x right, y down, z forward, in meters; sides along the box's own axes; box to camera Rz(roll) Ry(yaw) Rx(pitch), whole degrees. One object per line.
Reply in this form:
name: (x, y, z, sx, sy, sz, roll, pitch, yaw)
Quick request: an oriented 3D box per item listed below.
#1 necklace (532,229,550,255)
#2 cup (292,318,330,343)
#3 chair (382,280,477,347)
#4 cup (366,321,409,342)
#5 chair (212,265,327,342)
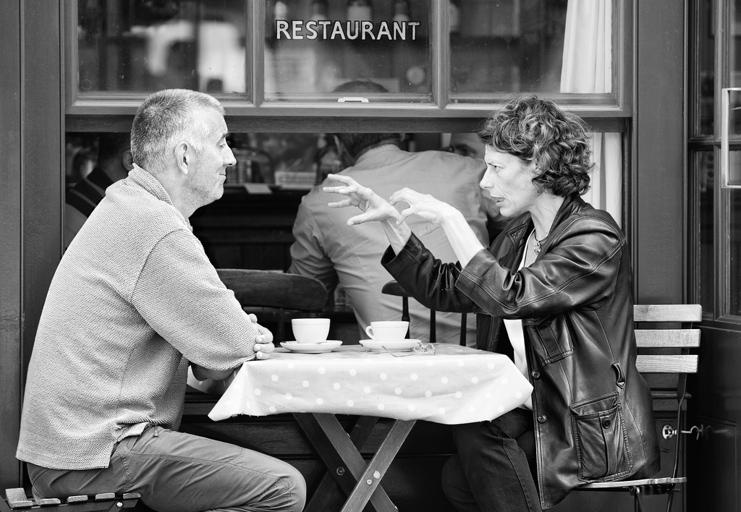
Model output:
necklace: (0.673, -0.067, 5.098, 0.034, 0.084, 0.064, 7, 0, -44)
cup: (-0.210, 0.272, 4.819, 0.103, 0.063, 0.104, -1, -2, 0)
chair: (0.268, 0.243, 5.395, 0.263, 0.336, 0.286, 4, 5, 23)
cup: (0.064, 0.274, 4.863, 0.110, 0.049, 0.090, -2, -1, -6)
chair: (-0.409, 0.167, 5.463, 0.442, 0.376, 0.339, -5, -1, -13)
